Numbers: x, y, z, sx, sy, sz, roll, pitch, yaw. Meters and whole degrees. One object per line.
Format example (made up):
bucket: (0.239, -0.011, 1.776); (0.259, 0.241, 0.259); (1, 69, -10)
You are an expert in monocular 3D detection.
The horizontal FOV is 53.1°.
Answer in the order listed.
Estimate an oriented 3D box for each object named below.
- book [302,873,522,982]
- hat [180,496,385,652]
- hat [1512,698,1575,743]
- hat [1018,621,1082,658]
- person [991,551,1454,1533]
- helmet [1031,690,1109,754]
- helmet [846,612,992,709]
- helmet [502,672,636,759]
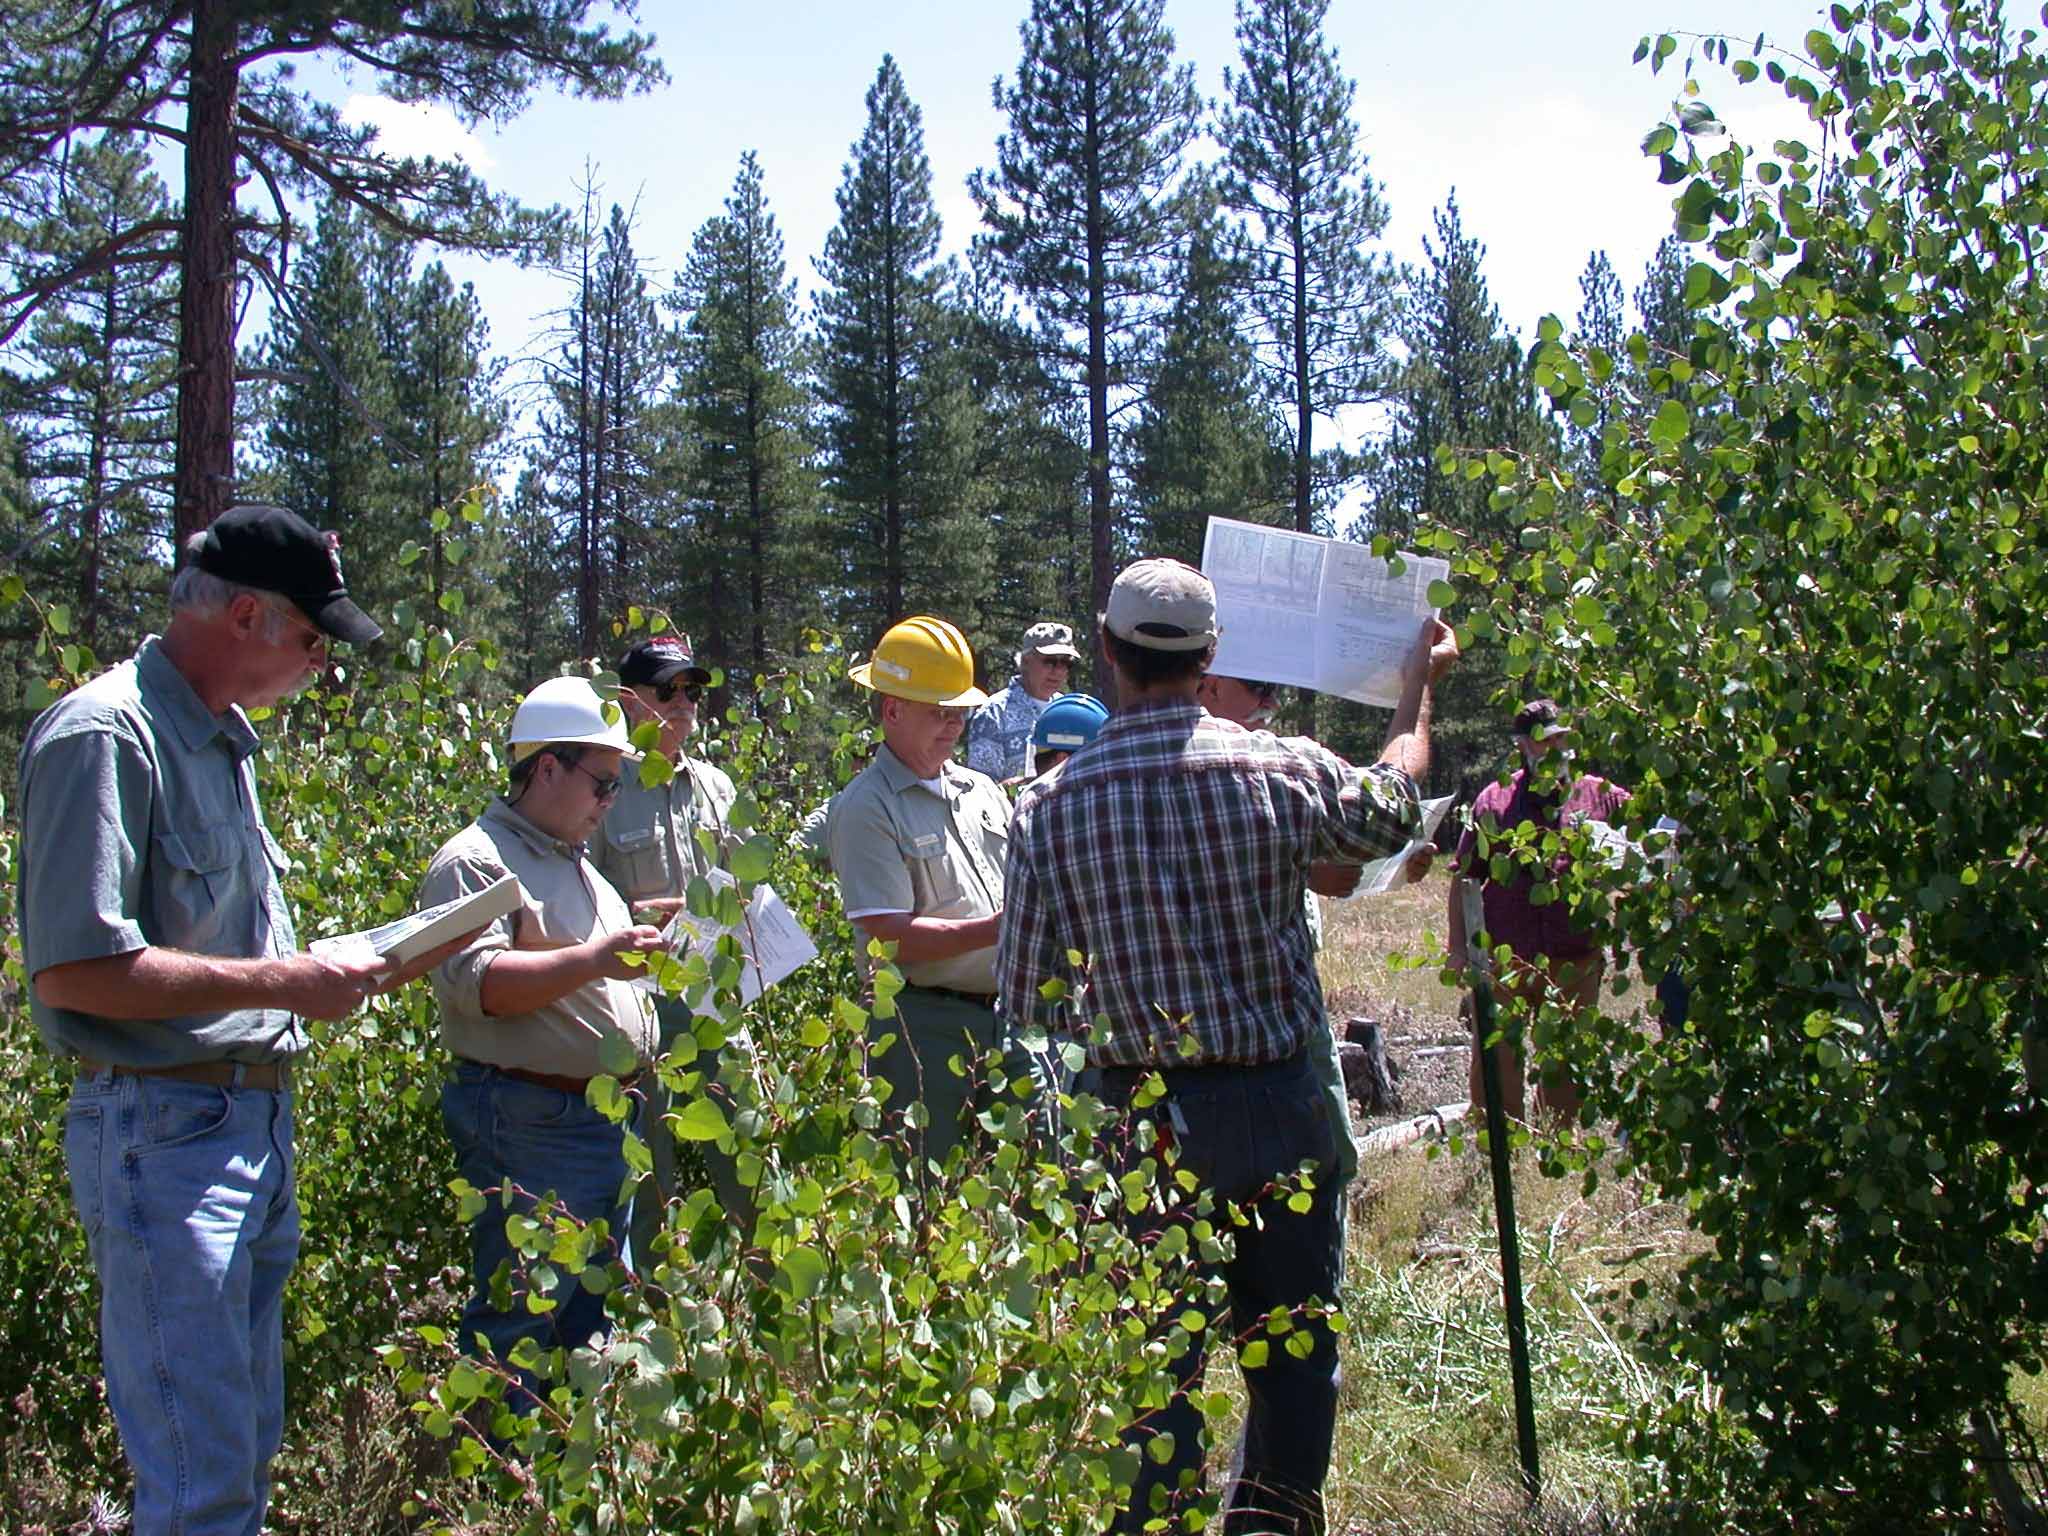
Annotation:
book: (-1.375, 0.373, 4.718); (0.343, 0.124, 0.249); (-19, 7, -31)
hat: (-1.715, -0.411, 4.783); (0.402, 0.241, 0.276); (22, 9, -25)
hat: (1.494, -0.140, 5.886); (0.139, 0.174, 0.129); (-8, -4, 25)
hat: (0.125, -0.582, 9.307); (0.202, 0.187, 0.312); (4, -2, -9)
person: (0.469, 0.649, 4.775); (1.050, 2.352, 0.811); (2, -3, -1)
helmet: (0.152, -0.111, 6.352); (0.179, 0.203, 0.168); (-9, 30, 15)
helmet: (-0.304, -0.318, 6.079); (0.288, 0.178, 0.237); (13, 11, 20)
helmet: (-1.193, -0.134, 5.474); (0.386, 0.277, 0.331); (-1, 1, 11)
